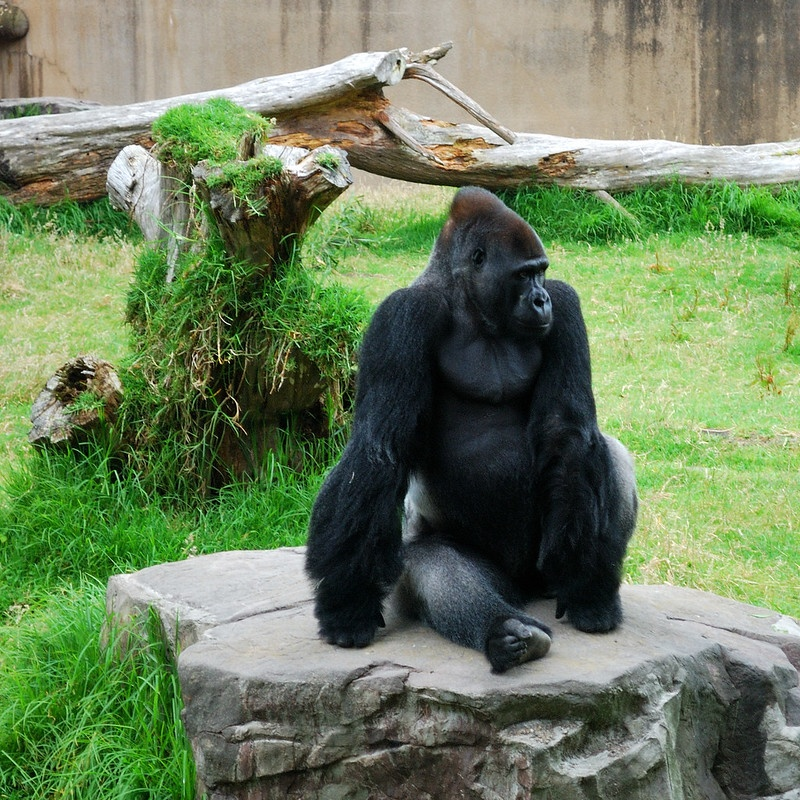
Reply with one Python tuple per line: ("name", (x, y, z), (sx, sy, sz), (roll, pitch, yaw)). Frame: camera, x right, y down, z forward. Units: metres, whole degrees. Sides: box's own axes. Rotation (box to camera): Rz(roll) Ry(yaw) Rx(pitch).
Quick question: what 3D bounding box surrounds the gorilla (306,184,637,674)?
("gorilla", (0.279, 0.014, 4.375), (1.063, 1.883, 1.299), (3, 28, 8))
